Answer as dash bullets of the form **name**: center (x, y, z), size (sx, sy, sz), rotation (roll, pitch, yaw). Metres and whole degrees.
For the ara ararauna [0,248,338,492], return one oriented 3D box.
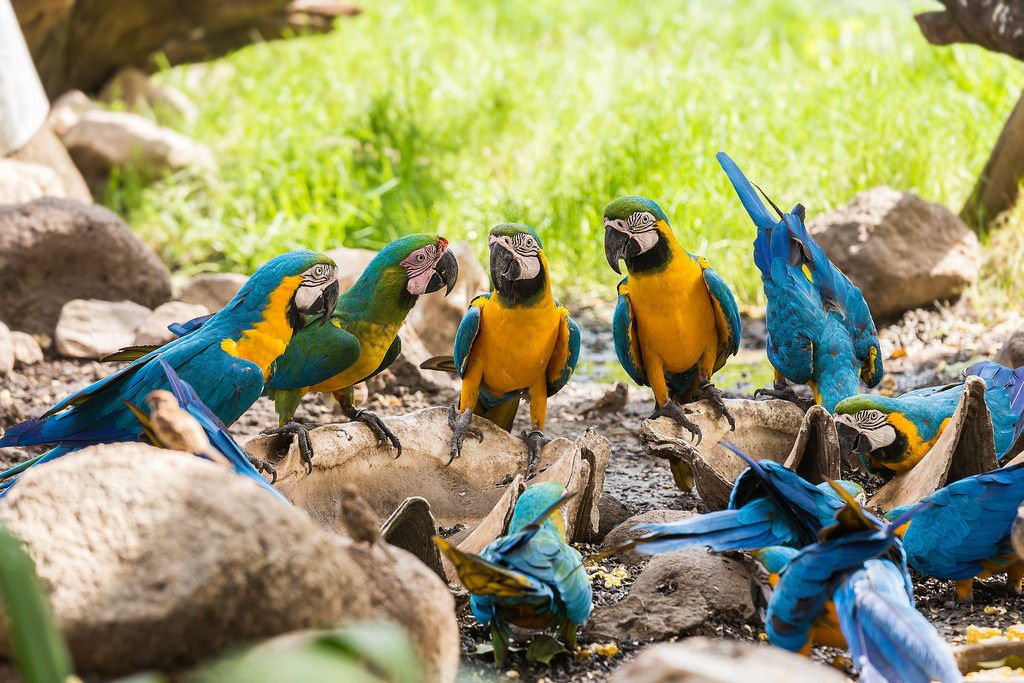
- **ara ararauna**: center (-1.681, 0.109, 6.563), size (1.746, 0.693, 0.481), rotation (-17, 38, -21)

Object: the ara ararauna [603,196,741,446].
- **ara ararauna**: center (0.905, -0.156, 7.242), size (0.795, 1.187, 0.520), rotation (3, 35, 6)

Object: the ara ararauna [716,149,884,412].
- **ara ararauna**: center (1.670, -0.184, 7.314), size (0.639, 1.903, 0.968), rotation (-11, 1, -15)

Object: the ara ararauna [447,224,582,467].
- **ara ararauna**: center (0.022, 0.019, 7.146), size (0.694, 1.267, 0.484), rotation (1, 34, 2)
